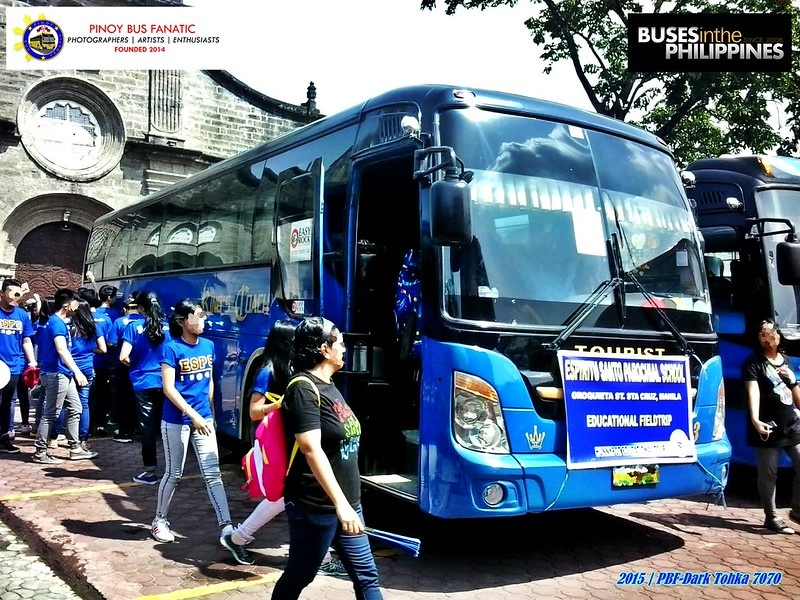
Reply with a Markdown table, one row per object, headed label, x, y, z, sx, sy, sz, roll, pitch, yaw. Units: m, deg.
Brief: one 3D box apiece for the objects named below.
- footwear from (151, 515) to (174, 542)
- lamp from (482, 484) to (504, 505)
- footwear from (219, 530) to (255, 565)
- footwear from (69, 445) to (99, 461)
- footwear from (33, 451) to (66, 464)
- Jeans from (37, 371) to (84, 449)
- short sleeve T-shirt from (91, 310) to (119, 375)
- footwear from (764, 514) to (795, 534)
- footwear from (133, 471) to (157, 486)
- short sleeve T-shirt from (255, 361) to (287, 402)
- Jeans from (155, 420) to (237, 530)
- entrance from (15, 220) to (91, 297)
| label | x | y | z | sx | sy | sz | roll | pitch | yaw |
| --- | --- | --- | --- | --- | --- | --- | --- | --- | --- |
| footwear | -2.287 | 2.244 | 7.108 | 0.135 | 0.159 | 0.360 | 9 | -13 | -33 |
| lamp | 0.786 | 1.661 | 6.218 | 0.177 | 0.171 | 0.056 | 1 | -4 | -7 |
| footwear | -1.453 | 2.245 | 6.598 | 0.289 | 0.313 | 0.173 | 1 | 2 | -8 |
| footwear | -4.460 | 2.130 | 10.291 | 0.433 | 0.284 | 0.165 | -1 | 8 | -27 |
| footwear | -4.802 | 2.164 | 9.979 | 0.420 | 0.174 | 0.164 | 3 | 0 | -6 |
| Jeans | -4.712 | 1.536 | 10.062 | 0.489 | 1.110 | 0.674 | -14 | -13 | 41 |
| short sleeve T-shirt | -4.730 | 0.541 | 11.951 | 0.348 | 1.030 | 0.713 | -10 | -40 | -5 |
| footwear | 4.019 | 2.402 | 7.803 | 0.126 | 0.132 | 0.341 | -6 | -3 | -22 |
| footwear | -3.127 | 2.189 | 9.007 | 0.349 | 0.138 | 0.143 | 3 | 4 | 41 |
| short sleeve T-shirt | -1.178 | 0.748 | 6.594 | 0.437 | 0.336 | 0.254 | 6 | -7 | -43 |
| Jeans | -1.946 | 1.673 | 6.952 | 0.905 | 1.032 | 0.309 | 2 | 2 | 26 |
| entrance | -11.000 | -1.369 | 23.000 | 2.692 | 2.989 | 0.223 | 1 | 5 | -42 |
